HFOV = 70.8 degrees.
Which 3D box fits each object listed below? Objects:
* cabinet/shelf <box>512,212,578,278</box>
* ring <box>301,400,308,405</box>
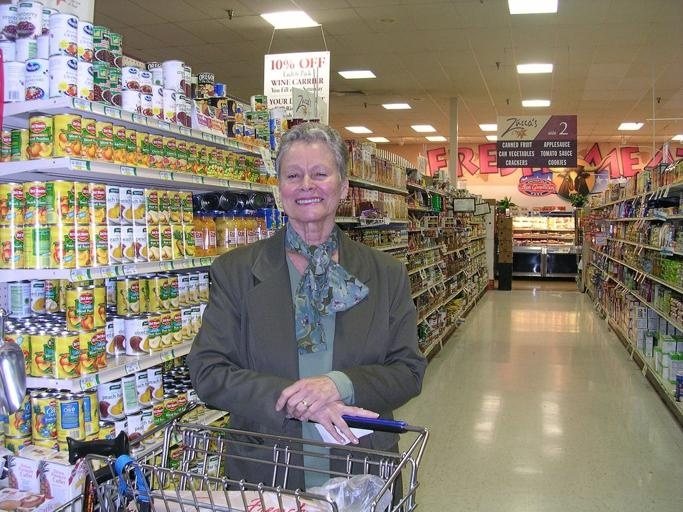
[{"bbox_3d":[6.860,-0.292,15.990,2.174,2.045,1.171,-1,-4,9],"label":"cabinet/shelf"},{"bbox_3d":[-0.106,0.412,1.359,0.012,0.016,0.005,-6,-16,-7],"label":"ring"}]
